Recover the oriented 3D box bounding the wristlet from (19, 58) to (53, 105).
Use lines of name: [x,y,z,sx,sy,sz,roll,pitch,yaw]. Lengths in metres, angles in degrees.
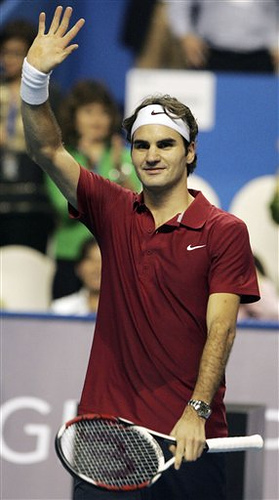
wristlet: [-0.462,-0.734,2.878,0.131,0.193,0.159,-5,20,-10]
